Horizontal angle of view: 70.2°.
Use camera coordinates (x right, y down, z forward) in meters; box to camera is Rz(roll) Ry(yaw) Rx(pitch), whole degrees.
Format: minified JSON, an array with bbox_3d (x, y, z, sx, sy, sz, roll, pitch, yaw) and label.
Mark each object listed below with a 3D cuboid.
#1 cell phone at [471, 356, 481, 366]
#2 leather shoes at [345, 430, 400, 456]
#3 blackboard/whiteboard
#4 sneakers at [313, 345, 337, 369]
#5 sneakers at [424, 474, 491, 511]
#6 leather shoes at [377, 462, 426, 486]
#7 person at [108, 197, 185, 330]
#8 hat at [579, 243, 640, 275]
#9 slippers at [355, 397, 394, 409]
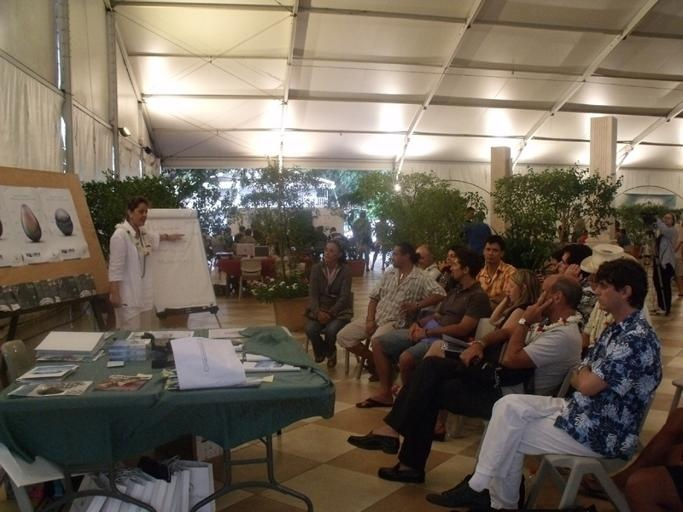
[{"bbox_3d":[0.987,0.770,3.550,0.067,0.097,0.034,0,17,-25],"label":"cell phone"},{"bbox_3d":[0.268,1.425,3.782,0.416,0.166,0.147,8,-19,20],"label":"leather shoes"},{"bbox_3d":[-1.971,0.130,5.899,0.831,1.523,0.436,-3,-9,-22],"label":"blackboard/whiteboard"},{"bbox_3d":[-0.160,1.233,5.842,0.130,0.198,0.451,0,-4,22],"label":"sneakers"},{"bbox_3d":[0.708,1.411,3.006,0.436,0.188,0.156,-2,5,24],"label":"sneakers"},{"bbox_3d":[0.408,1.449,3.314,0.261,0.111,0.132,6,-11,17],"label":"leather shoes"},{"bbox_3d":[-2.238,0.106,5.326,0.352,1.512,1.030,2,12,-8],"label":"person"},{"bbox_3d":[2.342,0.015,4.330,0.349,0.141,0.321,-23,21,3],"label":"hat"},{"bbox_3d":[0.310,1.387,4.559,0.316,0.089,0.125,4,-3,-4],"label":"slippers"}]
